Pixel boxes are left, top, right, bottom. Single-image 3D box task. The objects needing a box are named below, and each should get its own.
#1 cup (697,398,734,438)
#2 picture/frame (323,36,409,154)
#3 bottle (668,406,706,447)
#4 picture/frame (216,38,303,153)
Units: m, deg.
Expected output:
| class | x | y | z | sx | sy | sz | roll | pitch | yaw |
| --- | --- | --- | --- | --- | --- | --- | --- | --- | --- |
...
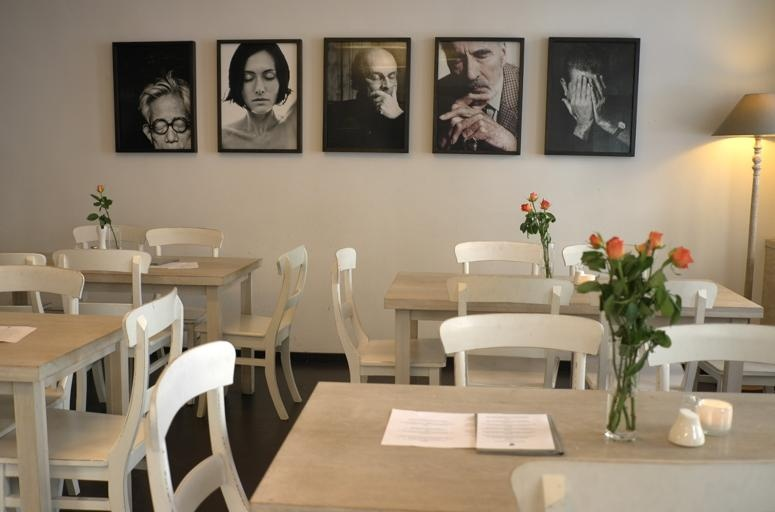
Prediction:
| class | x | y | z | sx | sy | sz | roll | pitch | yaw |
| --- | --- | --- | --- | --- | --- | --- | --- | --- | --- |
| cup | 1.155 | 0.558 | 2.262 | 0.121 | 0.111 | 0.120 | 1 | 9 | 0 |
| picture/frame | -0.167 | -1.376 | 5.246 | 0.920 | 1.163 | 0.074 | 1 | 8 | 5 |
| bottle | 1.048 | 0.606 | 2.242 | 0.111 | 0.118 | 0.125 | 1 | -6 | 7 |
| picture/frame | -1.065 | -1.386 | 5.315 | 0.921 | 1.258 | 0.055 | 0 | 7 | 1 |
